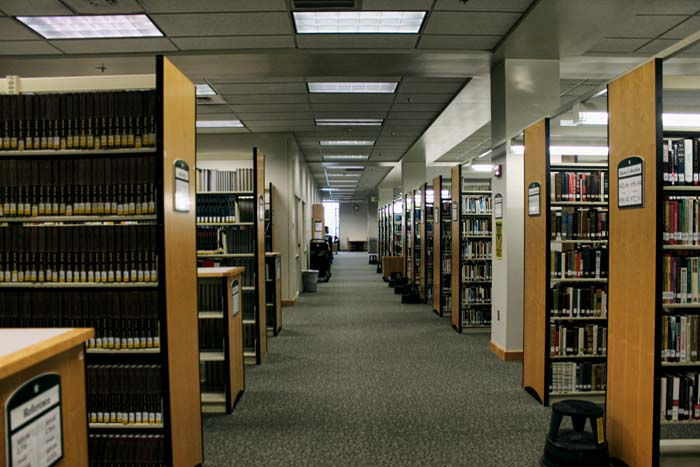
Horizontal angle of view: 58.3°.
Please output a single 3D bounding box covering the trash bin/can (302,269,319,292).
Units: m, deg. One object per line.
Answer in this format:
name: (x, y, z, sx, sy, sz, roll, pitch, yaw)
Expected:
trash bin/can: (-0.899, 1.049, 13.779, 0.320, 0.456, 0.313, -1, 10, 0)
